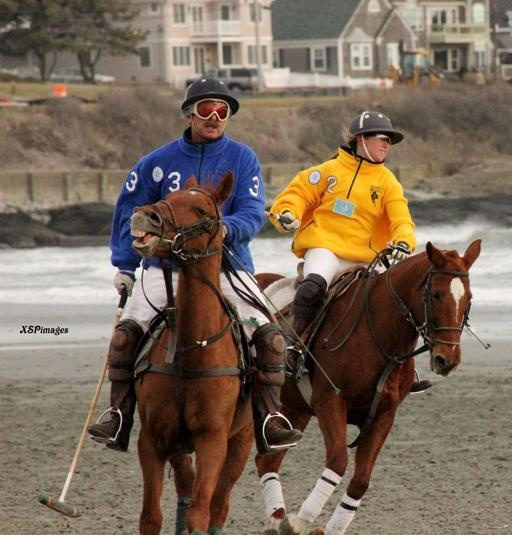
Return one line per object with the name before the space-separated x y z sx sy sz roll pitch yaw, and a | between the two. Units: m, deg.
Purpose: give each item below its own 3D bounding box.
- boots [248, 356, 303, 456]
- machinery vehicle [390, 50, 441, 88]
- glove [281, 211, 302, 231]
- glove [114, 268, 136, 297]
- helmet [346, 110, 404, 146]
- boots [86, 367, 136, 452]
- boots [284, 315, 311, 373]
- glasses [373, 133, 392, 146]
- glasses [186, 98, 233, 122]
boots | 0.172 1.149 12.232 0.401 0.716 0.215 0 7 0
machinery vehicle | 3.131 -3.897 29.483 0.967 0.724 2.427 0 7 5
glove | 0.306 -0.403 12.954 0.166 0.122 0.067 35 42 -9
glove | -1.077 0.134 12.448 0.153 0.194 0.085 7 0 3
helmet | 1.067 -1.247 13.509 0.370 0.196 0.309 2 -3 17
boots | -1.144 1.198 12.133 0.384 0.602 0.313 -1 7 -6
boots | 0.362 0.678 13.073 0.145 0.400 0.298 2 -8 10
glasses | 1.153 -1.142 13.473 0.100 0.027 0.098 33 13 31
glasses | -0.394 -1.288 12.460 0.347 0.185 0.141 -1 7 -2
